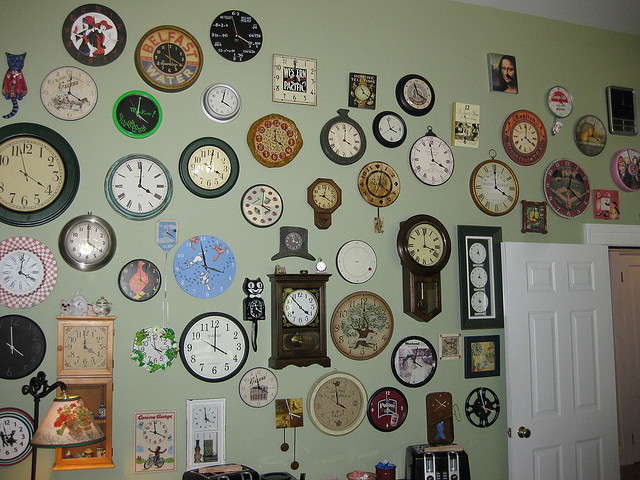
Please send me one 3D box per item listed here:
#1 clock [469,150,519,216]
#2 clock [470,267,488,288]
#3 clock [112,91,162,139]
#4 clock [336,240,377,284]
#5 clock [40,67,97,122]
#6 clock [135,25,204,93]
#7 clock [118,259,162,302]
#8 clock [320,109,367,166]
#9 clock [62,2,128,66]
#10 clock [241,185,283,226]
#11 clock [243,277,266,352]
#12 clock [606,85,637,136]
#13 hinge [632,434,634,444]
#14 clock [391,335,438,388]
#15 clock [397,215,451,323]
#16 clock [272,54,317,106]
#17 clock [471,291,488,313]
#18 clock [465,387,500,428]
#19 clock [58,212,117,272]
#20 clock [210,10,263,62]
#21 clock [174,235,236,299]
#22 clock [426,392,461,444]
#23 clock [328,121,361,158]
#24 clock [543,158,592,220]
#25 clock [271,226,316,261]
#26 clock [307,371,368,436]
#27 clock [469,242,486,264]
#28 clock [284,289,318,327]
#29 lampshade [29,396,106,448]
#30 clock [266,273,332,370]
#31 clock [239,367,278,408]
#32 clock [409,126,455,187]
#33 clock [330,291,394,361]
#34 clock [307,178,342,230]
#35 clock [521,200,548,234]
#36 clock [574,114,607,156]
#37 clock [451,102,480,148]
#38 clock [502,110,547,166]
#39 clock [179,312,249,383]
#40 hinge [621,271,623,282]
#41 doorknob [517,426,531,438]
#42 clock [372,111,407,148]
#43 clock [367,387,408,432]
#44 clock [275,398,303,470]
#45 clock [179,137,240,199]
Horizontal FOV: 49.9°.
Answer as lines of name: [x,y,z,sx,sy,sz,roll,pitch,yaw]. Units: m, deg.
clock: [1.433,-0.462,5.708,0.485,0.692,0.066,2,-7,-25]
clock: [1.292,0.312,5.602,0.143,0.160,0.012,-6,-3,-21]
clock: [-1.369,-0.920,5.065,0.306,0.347,0.033,3,-7,-11]
clock: [0.269,0.178,5.357,0.305,0.342,0.032,-1,1,-24]
clock: [-1.833,-1.069,4.996,0.373,0.445,0.043,-2,-16,-19]
clock: [-1.124,-1.373,5.133,0.480,0.068,0.560,2,-44,-11]
clock: [-1.328,0.304,4.999,0.266,0.324,0.040,2,-5,-13]
clock: [0.167,-0.798,5.389,0.401,0.498,0.053,1,-6,-22]
clock: [-1.678,-1.510,5.037,0.419,0.491,0.047,3,-5,-13]
clock: [-0.453,-0.257,5.210,0.269,0.304,0.036,2,-9,-16]
clock: [-0.491,0.553,5.190,0.157,0.561,0.086,1,16,3]
clock: [2.682,-1.147,6.092,0.292,0.413,0.086,2,-12,-19]
hinge: [2.825,1.810,6.180,0.018,0.072,0.009,8,-15,-41]
clock: [0.727,0.976,5.422,0.365,0.396,0.050,3,-8,-21]
clock: [0.830,0.219,5.404,0.403,0.815,0.206,-4,-11,9]
clock: [-0.214,-1.242,5.330,0.360,0.393,0.027,2,-7,-17]
clock: [1.296,0.511,5.591,0.155,0.174,0.019,1,-7,-25]
clock: [1.297,1.367,5.534,0.292,0.328,0.027,2,-8,-24]
clock: [-1.697,0.026,4.949,0.371,0.459,0.082,1,-5,-11]
clock: [-0.660,-1.560,5.240,0.368,0.416,0.042,1,-4,-16]
clock: [-0.876,0.214,5.095,0.409,0.495,0.064,1,-5,-14]
clock: [0.982,1.424,5.451,0.295,0.401,0.072,3,-12,-23]
clock: [0.179,-0.784,5.382,0.256,0.275,0.028,2,-6,-27]
clock: [2.102,-0.425,5.877,0.448,0.520,0.051,5,-10,-24]
clock: [-0.222,0.035,5.246,0.236,0.203,0.022,1,-9,-15]
clock: [0.112,1.268,5.244,0.441,0.489,0.063,2,-7,-15]
clock: [1.283,0.112,5.613,0.148,0.166,0.011,-4,-4,-24]
clock: [-0.157,0.520,5.143,0.248,0.280,0.035,1,-6,-20]
lampshade: [-1.709,1.235,4.717,0.440,0.306,0.453,0,-6,-41]
clock: [-0.178,0.612,5.135,0.610,1.035,0.285,1,-7,-17]
clock: [-0.473,1.110,5.116,0.266,0.299,0.028,4,-8,-21]
clock: [0.894,-0.670,5.579,0.441,0.622,0.043,1,-8,-21]
clock: [0.306,0.682,5.329,0.474,0.534,0.036,2,-6,-20]
clock: [0.024,-0.277,5.313,0.337,0.516,0.070,3,-10,-21]
clock: [1.795,-0.186,5.772,0.248,0.294,0.037,2,-4,-19]
clock: [2.345,-0.909,5.980,0.309,0.374,0.045,6,-9,-26]
clock: [1.192,-0.950,5.666,0.335,0.498,0.050,2,-2,-25]
clock: [1.739,-0.866,5.811,0.426,0.474,0.051,3,-5,-12]
clock: [-0.806,0.809,5.067,0.460,0.522,0.048,1,-7,-12]
hinge: [2.747,0.337,6.235,0.016,0.073,0.011,6,-13,-32]
doorknob: [1.619,1.526,5.419,0.116,0.089,0.030,1,-12,-12]
clock: [0.545,-0.885,5.498,0.256,0.287,0.043,4,-10,-22]
clock: [0.510,1.331,5.333,0.301,0.338,0.043,4,-8,-17]
clock: [-0.227,1.466,5.105,0.206,0.532,0.072,-2,-31,0]
clock: [-0.852,-0.534,5.142,0.405,0.477,0.047,2,-5,-13]
